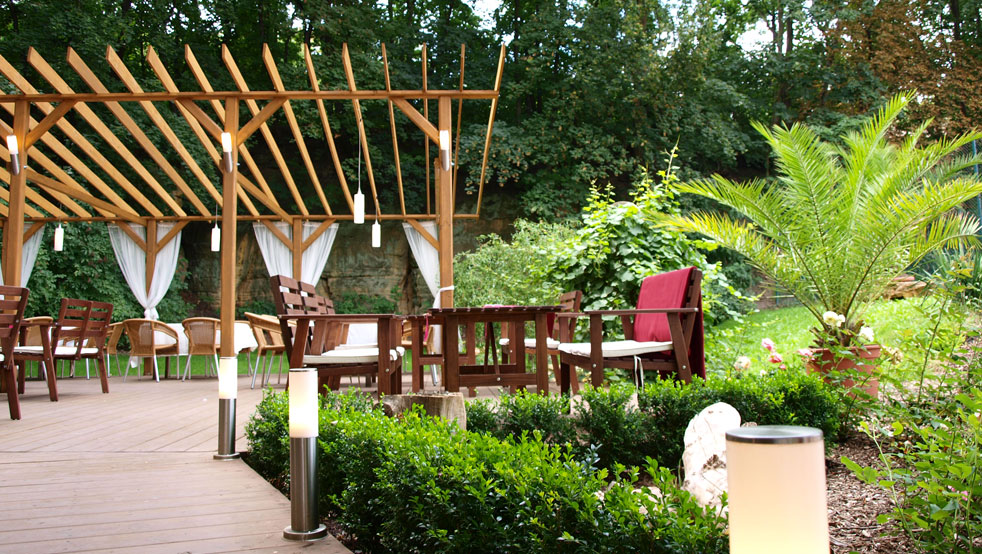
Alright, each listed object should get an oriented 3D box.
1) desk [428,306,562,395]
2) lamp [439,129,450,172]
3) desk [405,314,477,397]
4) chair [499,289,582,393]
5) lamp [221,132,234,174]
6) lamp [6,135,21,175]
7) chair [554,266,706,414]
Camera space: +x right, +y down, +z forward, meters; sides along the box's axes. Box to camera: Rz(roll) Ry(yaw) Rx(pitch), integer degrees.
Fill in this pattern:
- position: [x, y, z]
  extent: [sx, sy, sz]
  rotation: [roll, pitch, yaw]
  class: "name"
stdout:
- position: [0.030, 0.959, 11.180]
  extent: [1.567, 1.020, 1.245]
  rotation: [-1, 0, -10]
  class: "desk"
- position: [-0.733, -2.038, 13.412]
  extent: [0.152, 0.552, 0.434]
  rotation: [-2, -5, 3]
  class: "lamp"
- position: [-0.687, 1.104, 12.595]
  extent: [1.254, 1.114, 1.235]
  rotation: [2, -2, 2]
  class: "desk"
- position: [0.962, 0.944, 12.169]
  extent: [1.401, 1.690, 1.404]
  rotation: [2, -6, -9]
  class: "chair"
- position: [-4.169, -1.977, 13.345]
  extent: [0.156, 0.600, 0.241]
  rotation: [-4, -5, 18]
  class: "lamp"
- position: [-7.734, -1.987, 13.626]
  extent: [0.148, 0.544, 0.296]
  rotation: [-1, -5, -20]
  class: "lamp"
- position: [1.802, 0.805, 11.024]
  extent: [1.770, 1.769, 1.664]
  rotation: [-1, -4, -6]
  class: "chair"
